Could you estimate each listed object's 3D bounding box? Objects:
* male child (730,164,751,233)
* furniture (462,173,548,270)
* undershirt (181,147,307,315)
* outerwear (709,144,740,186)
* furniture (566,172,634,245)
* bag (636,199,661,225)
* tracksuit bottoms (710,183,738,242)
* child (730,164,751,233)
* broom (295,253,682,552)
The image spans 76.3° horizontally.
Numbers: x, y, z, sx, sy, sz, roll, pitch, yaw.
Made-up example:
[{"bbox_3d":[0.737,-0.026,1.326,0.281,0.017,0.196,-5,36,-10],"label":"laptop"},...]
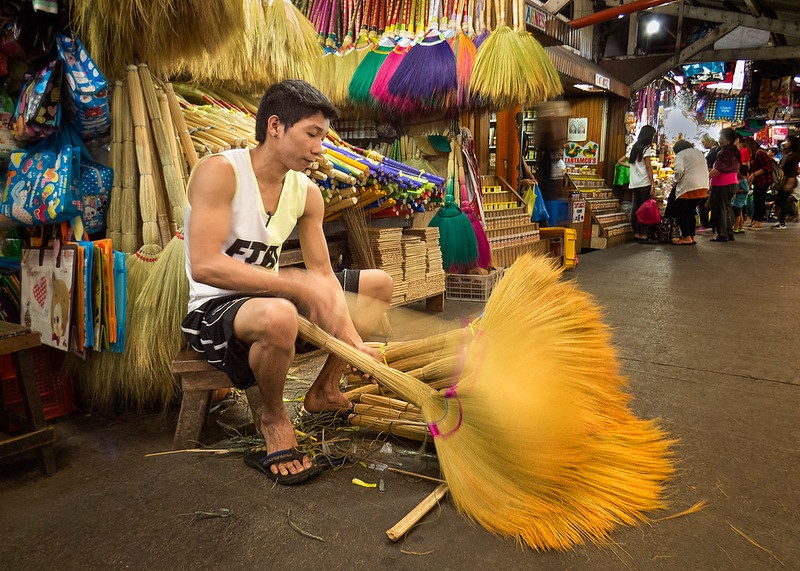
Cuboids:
[{"bbox_3d":[6.341,-1.604,9.605,0.342,1.191,0.400,5,6,33],"label":"male child"},{"bbox_3d":[1.137,-0.656,5.424,0.459,1.311,0.884,-8,10,41],"label":"furniture"},{"bbox_3d":[-0.629,-0.226,2.121,0.368,0.640,0.357,6,-5,-14],"label":"undershirt"},{"bbox_3d":[5.011,-1.836,7.833,0.322,0.624,0.569,1,13,35],"label":"outerwear"},{"bbox_3d":[3.164,-1.195,8.105,0.719,1.034,1.401,3,13,30],"label":"furniture"},{"bbox_3d":[3.895,-1.144,8.033,0.279,0.411,0.235,8,28,32],"label":"bag"},{"bbox_3d":[5.171,-1.212,8.157,0.364,0.885,0.241,-6,7,-44],"label":"tracksuit bottoms"},{"bbox_3d":[6.332,-1.600,9.593,0.313,1.178,0.419,3,6,23],"label":"child"},{"bbox_3d":[0.286,0.549,1.997,1.212,0.943,0.532,16,-26,11],"label":"broom"}]
